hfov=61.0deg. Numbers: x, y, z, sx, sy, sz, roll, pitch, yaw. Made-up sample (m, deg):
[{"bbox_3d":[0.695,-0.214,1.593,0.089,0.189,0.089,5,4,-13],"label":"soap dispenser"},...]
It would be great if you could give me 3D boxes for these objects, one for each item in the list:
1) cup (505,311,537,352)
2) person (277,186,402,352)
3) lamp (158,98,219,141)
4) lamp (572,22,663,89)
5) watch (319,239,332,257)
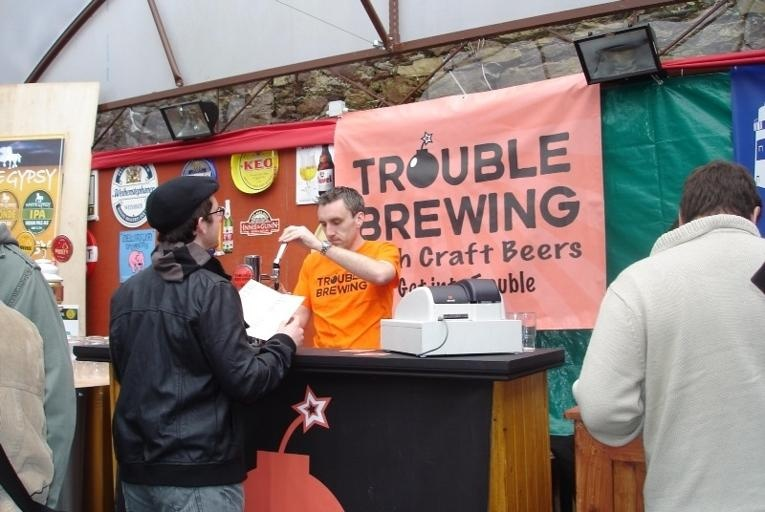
[{"bbox_3d":[0.660,0.377,3.109,0.142,0.164,0.137,-1,-9,0],"label":"cup"},{"bbox_3d":[-0.247,0.211,3.663,0.675,1.065,0.574,-1,6,18],"label":"person"},{"bbox_3d":[-1.605,-1.152,5.503,0.432,0.312,0.350,-2,20,28],"label":"lamp"},{"bbox_3d":[1.454,-1.255,4.041,0.460,0.200,0.254,-7,-5,26],"label":"lamp"},{"bbox_3d":[-0.310,-0.033,3.403,0.048,0.067,0.072,33,21,21],"label":"watch"}]
